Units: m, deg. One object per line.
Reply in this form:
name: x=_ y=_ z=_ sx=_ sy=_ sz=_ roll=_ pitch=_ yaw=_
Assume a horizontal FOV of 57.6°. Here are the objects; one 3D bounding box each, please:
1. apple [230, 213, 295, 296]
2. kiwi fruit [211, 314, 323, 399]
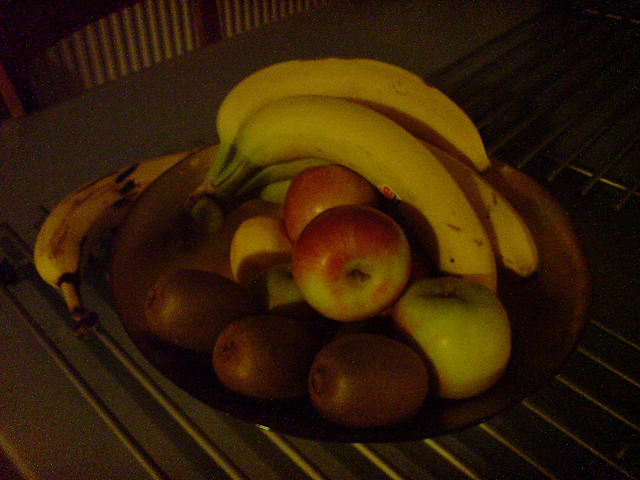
apple: x=-0.116 y=0.028 z=1.204 sx=0.117 sy=0.162 sz=0.086 roll=1 pitch=1 yaw=-14
kiwi fruit: x=-0.096 y=0.201 z=1.051 sx=0.174 sy=0.129 sz=0.131 roll=2 pitch=87 yaw=-16
